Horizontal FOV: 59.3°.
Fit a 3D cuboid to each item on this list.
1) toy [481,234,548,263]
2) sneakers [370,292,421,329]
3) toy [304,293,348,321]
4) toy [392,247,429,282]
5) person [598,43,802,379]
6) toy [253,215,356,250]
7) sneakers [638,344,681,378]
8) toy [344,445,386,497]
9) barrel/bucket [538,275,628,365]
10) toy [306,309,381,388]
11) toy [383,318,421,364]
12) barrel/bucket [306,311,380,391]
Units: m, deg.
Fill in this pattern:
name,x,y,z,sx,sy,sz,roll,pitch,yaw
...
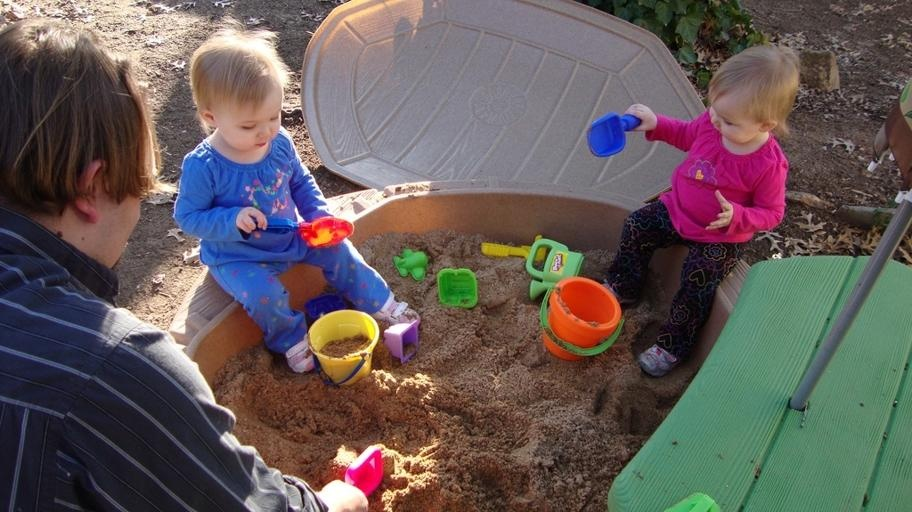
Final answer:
name,x,y,z,sx,sy,sz,roll,pitch,yaw
toy,0.365,-0.037,4.925,0.394,0.166,0.080,14,5,5
sneakers,-0.341,0.328,4.645,0.284,0.175,0.148,2,54,14
toy,-0.760,0.289,4.690,0.202,0.073,0.156,-31,70,-1
toy,-0.269,0.054,4.856,0.184,0.060,0.199,-20,74,-18
person,1.388,-0.284,4.492,0.915,1.670,0.652,-17,37,-33
toy,-0.843,-0.128,4.400,0.598,0.173,0.159,-1,10,1
sneakers,1.120,0.604,4.435,0.215,0.157,0.071,-4,12,4
toy,-0.450,1.090,4.011,0.072,0.180,0.189,15,32,38
barrel/bucket,0.683,0.392,4.456,0.448,0.332,0.451,9,43,-8
toy,-0.625,0.557,4.524,0.402,0.288,0.388,-29,59,-23
toy,-0.282,0.470,4.537,0.205,0.245,0.199,3,16,28
barrel/bucket,-0.602,0.461,4.408,0.403,0.282,0.387,1,53,-1
